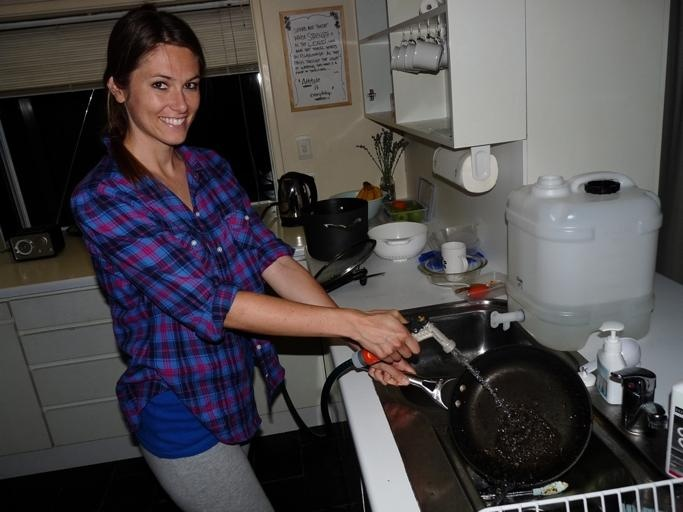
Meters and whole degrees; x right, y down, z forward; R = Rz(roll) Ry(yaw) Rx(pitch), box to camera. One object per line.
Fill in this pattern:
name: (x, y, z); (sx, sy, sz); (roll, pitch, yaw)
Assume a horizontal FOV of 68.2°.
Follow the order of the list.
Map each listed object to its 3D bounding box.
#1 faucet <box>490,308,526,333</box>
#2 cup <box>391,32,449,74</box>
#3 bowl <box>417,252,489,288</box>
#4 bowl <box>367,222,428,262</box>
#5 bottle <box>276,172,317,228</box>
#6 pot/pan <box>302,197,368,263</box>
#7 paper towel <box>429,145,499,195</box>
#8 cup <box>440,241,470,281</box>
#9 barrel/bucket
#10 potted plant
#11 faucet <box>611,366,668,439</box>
faucet: (0.525, 0.204, 1.619); (0.139, 0.080, 0.043); (-8, 11, -2)
cup: (0.271, -0.715, 1.785); (0.217, 0.131, 0.088); (1, -6, -39)
bowl: (0.464, 0.034, 2.043); (0.244, 0.061, 0.230); (-18, 9, 3)
bowl: (0.264, -0.078, 2.278); (0.171, 0.101, 0.274); (-2, 16, 1)
bottle: (-0.222, -0.308, 2.710); (0.250, 0.278, 0.157); (1, 15, 29)
pot/pan: (-0.021, -0.106, 2.308); (0.281, 0.234, 0.323); (-1, 21, 3)
paper towel: (0.455, -0.353, 1.882); (0.158, 0.192, 0.290); (-12, 21, -9)
cup: (0.455, 0.032, 1.989); (0.090, 0.137, 0.145); (-10, 25, -14)
barrel/bucket: (0.643, -0.057, 1.670); (0.482, 0.624, 0.469); (-1, 17, 0)
potted plant: (0.277, -0.537, 2.926); (0.289, 0.381, 0.220); (4, 1, -2)
faucet: (0.696, 0.342, 1.163); (0.076, 0.141, 0.141); (-1, 9, 7)
